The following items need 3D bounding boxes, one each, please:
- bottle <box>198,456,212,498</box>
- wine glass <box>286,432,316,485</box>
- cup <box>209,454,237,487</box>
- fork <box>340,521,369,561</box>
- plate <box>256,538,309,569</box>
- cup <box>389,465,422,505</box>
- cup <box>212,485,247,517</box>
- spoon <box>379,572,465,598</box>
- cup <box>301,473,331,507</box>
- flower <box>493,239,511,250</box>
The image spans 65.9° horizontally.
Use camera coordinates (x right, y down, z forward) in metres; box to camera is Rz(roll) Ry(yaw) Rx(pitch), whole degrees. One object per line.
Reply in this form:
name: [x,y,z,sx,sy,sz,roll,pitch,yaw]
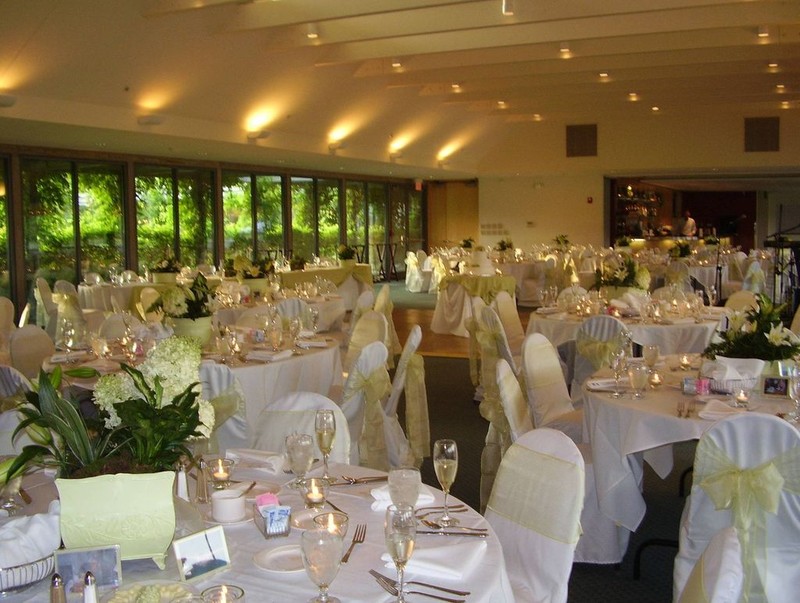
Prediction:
bottle: [-0.715,0.638,2.256,0.046,0.142,0.129,-3,2,-19]
wine glass: [-0.369,0.580,2.280,0.091,0.232,0.256,-2,2,-11]
cup: [-0.667,0.627,2.300,0.084,0.103,0.087,1,2,0]
fork: [-0.139,0.741,1.925,0.030,0.028,0.187,1,31,20]
plate: [-0.355,0.757,1.832,0.134,0.028,0.164,-3,2,-19]
cup: [0.013,0.574,1.971,0.100,0.135,0.109,-1,4,0]
cup: [-0.568,0.676,2.054,0.087,0.081,0.096,-1,4,0]
spoon: [0.061,0.779,1.677,0.178,0.032,0.052,7,15,18]
cup: [-0.295,0.641,2.107,0.082,0.083,0.098,1,-2,2]
flower: [2.392,-1.348,14.618,0.345,0.133,0.355,-6,9,-32]
